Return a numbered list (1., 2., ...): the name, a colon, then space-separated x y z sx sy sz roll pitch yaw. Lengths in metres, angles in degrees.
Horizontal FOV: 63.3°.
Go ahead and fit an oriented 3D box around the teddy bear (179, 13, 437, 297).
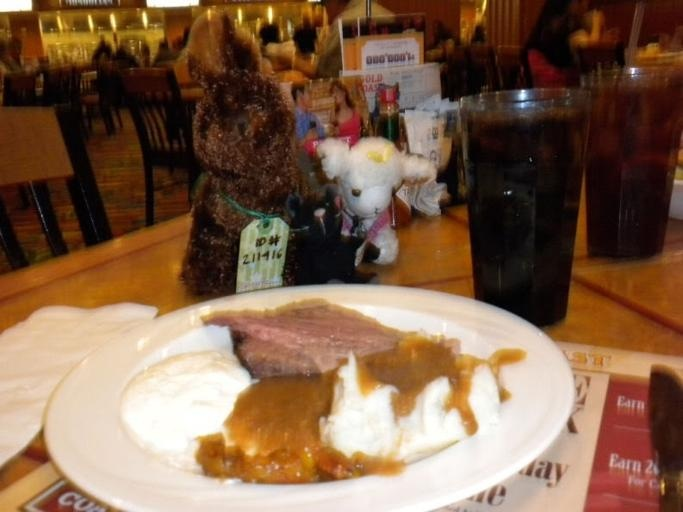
1. teddy bear: -0.067 -0.177 0.790 0.295 0.403 0.256 9 31 31
